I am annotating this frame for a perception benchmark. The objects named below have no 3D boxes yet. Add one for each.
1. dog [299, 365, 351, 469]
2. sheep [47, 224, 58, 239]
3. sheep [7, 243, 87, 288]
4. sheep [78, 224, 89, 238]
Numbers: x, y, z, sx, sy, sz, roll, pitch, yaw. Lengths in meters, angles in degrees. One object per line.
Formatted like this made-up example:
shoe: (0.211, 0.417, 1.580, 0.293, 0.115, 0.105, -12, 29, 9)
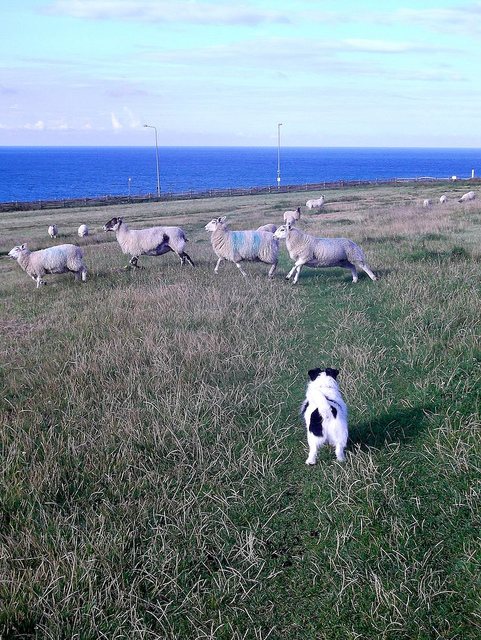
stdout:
dog: (0.772, 0.841, 5.343, 0.310, 0.759, 1.060, -3, 8, 9)
sheep: (-9.771, -4.630, 30.559, 0.408, 0.510, 1.204, -10, 16, -19)
sheep: (-4.719, -1.398, 14.546, 1.578, 1.109, 0.497, -9, 14, -11)
sheep: (-8.331, -4.739, 31.019, 0.468, 0.497, 1.359, -9, 16, -15)
